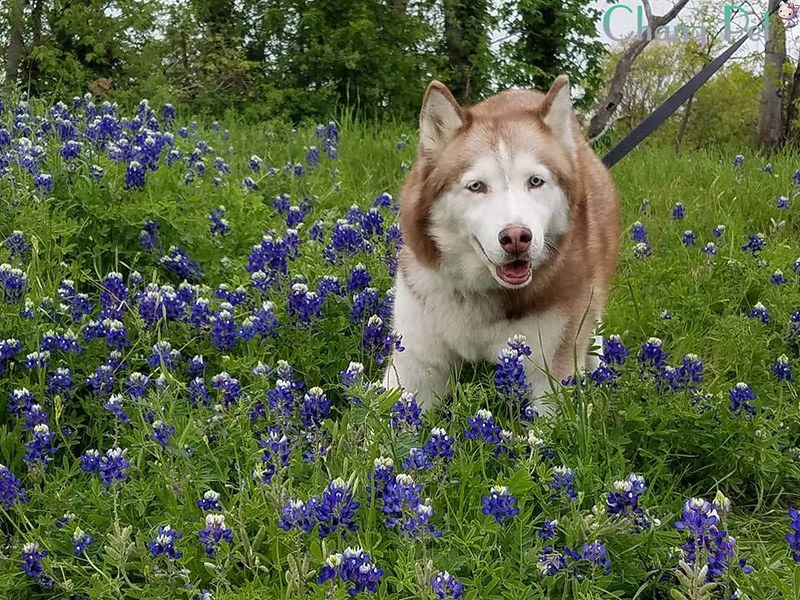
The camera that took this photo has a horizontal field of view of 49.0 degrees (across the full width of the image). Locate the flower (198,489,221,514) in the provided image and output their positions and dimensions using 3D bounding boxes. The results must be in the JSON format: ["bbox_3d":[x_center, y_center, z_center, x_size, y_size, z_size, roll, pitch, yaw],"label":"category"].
[{"bbox_3d":[-0.971,1.036,4.479,0.082,0.093,0.139,3,-12,-4],"label":"flower"}]

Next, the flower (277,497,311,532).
[{"bbox_3d":[-0.496,1.023,4.176,0.144,0.168,0.066,9,12,10],"label":"flower"}]

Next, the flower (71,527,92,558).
[{"bbox_3d":[-1.585,1.199,4.401,0.097,0.176,0.065,-1,16,5],"label":"flower"}]

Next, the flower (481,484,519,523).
[{"bbox_3d":[0.486,1.000,4.314,0.161,0.193,0.170,-6,18,-6],"label":"flower"}]

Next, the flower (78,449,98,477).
[{"bbox_3d":[-1.660,0.875,4.755,0.111,0.140,0.126,-2,-3,-4],"label":"flower"}]

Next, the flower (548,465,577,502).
[{"bbox_3d":[0.823,0.924,4.442,0.179,0.161,0.086,17,16,37],"label":"flower"}]

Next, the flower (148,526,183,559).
[{"bbox_3d":[-1.136,1.175,4.219,0.109,0.095,0.183,3,21,-6],"label":"flower"}]

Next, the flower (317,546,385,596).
[{"bbox_3d":[-0.217,1.232,4.014,0.223,0.270,0.142,-8,-10,-15],"label":"flower"}]

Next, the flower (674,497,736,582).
[{"bbox_3d":[1.340,1.055,3.858,0.234,0.384,0.238,13,13,29],"label":"flower"}]

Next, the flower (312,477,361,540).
[{"bbox_3d":[-0.305,0.998,4.283,0.219,0.347,0.243,5,12,-5],"label":"flower"}]
